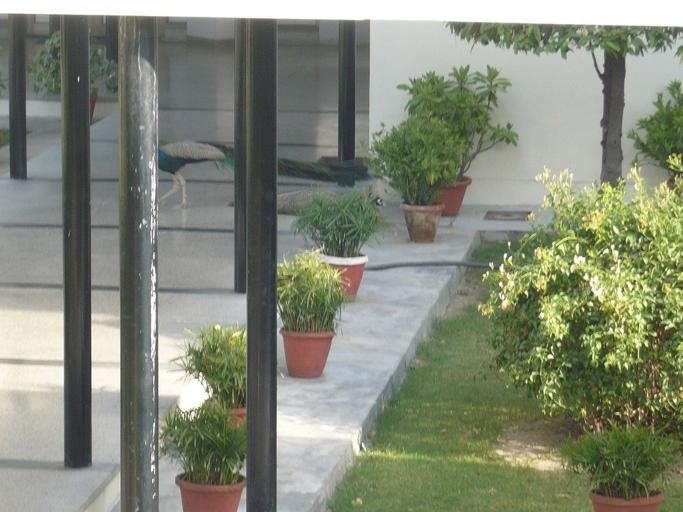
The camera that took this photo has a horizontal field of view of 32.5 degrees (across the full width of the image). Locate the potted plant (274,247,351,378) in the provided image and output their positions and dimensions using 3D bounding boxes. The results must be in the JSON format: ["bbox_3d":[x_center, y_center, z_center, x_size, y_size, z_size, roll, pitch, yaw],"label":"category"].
[{"bbox_3d":[-0.327,0.488,9.547,0.676,1.061,0.738,0,0,-5],"label":"potted plant"}]

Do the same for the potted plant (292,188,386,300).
[{"bbox_3d":[-0.047,-0.079,11.325,0.860,1.230,0.856,-5,6,-32],"label":"potted plant"}]

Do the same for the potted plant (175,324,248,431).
[{"bbox_3d":[-0.852,0.777,8.256,0.600,0.915,0.619,-6,0,-6],"label":"potted plant"}]
